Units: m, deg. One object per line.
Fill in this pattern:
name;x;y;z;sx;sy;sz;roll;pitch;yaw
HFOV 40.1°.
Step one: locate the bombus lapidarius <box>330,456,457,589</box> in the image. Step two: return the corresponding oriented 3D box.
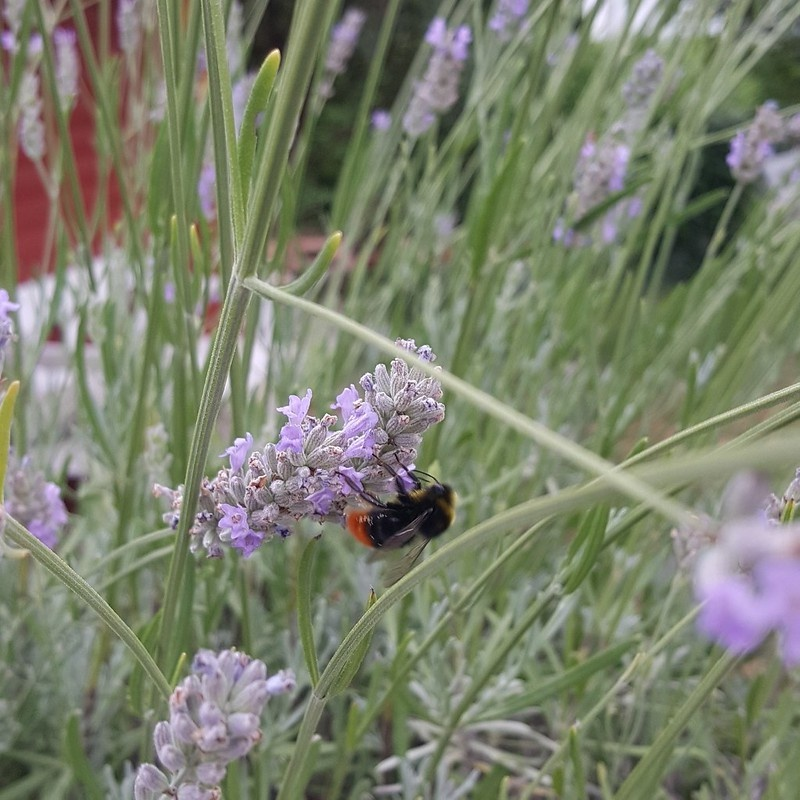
bombus lapidarius;-0.006;0.082;0.783;0.032;0.082;0.086;13;22;25
